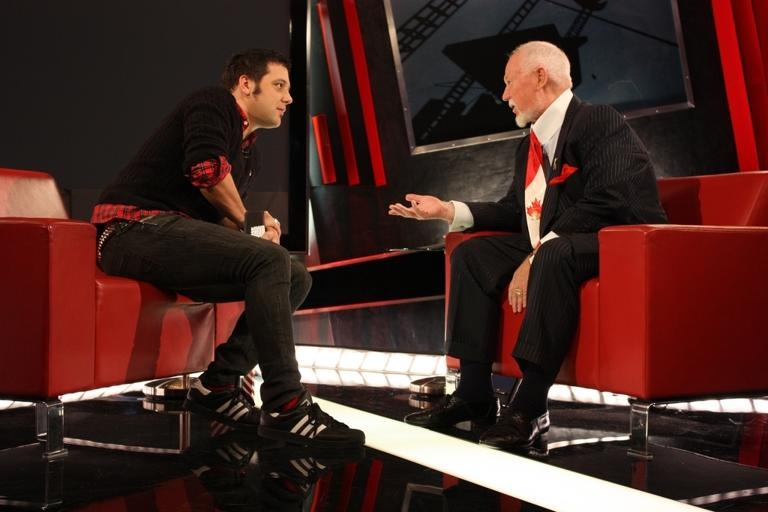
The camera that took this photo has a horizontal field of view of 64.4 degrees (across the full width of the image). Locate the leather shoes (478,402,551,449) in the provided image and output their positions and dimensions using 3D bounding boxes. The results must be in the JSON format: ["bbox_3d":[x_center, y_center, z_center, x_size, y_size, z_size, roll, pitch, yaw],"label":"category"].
[{"bbox_3d":[0.489,0.636,2.325,0.241,0.093,0.127,-2,0,-38],"label":"leather shoes"}]

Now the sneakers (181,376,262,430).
[{"bbox_3d":[-0.615,0.591,2.505,0.378,0.175,0.138,21,2,-22],"label":"sneakers"}]

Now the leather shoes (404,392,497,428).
[{"bbox_3d":[0.297,0.656,2.658,0.400,0.144,0.149,0,-2,-12],"label":"leather shoes"}]

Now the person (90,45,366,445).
[{"bbox_3d":[-0.623,-0.103,2.555,1.187,1.642,0.725,1,-9,6],"label":"person"}]
